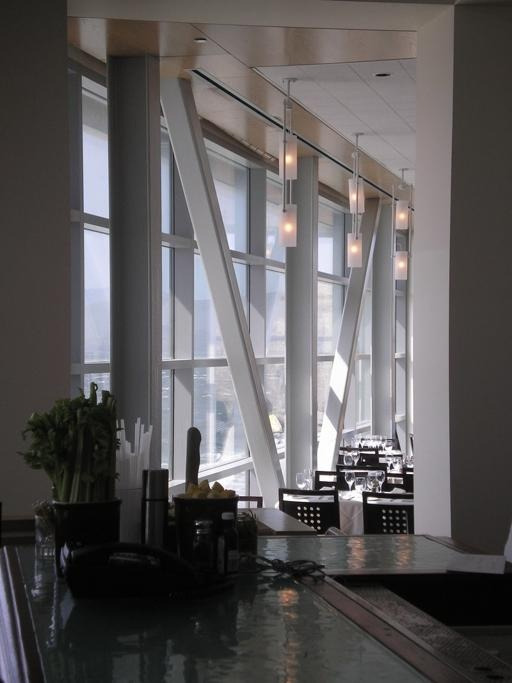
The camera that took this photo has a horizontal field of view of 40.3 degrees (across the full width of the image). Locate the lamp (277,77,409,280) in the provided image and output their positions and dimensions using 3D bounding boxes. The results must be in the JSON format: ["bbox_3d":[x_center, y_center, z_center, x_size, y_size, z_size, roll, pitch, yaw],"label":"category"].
[{"bbox_3d":[0.750,-1.456,7.110,0.427,2.230,1.093,0,0,28],"label":"lamp"}]

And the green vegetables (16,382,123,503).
[{"bbox_3d":[-0.396,0.198,1.494,0.179,0.304,0.203,1,-3,-25],"label":"green vegetables"}]

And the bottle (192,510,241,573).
[{"bbox_3d":[-0.082,0.395,1.383,0.090,0.172,0.052,-1,-2,16],"label":"bottle"}]
